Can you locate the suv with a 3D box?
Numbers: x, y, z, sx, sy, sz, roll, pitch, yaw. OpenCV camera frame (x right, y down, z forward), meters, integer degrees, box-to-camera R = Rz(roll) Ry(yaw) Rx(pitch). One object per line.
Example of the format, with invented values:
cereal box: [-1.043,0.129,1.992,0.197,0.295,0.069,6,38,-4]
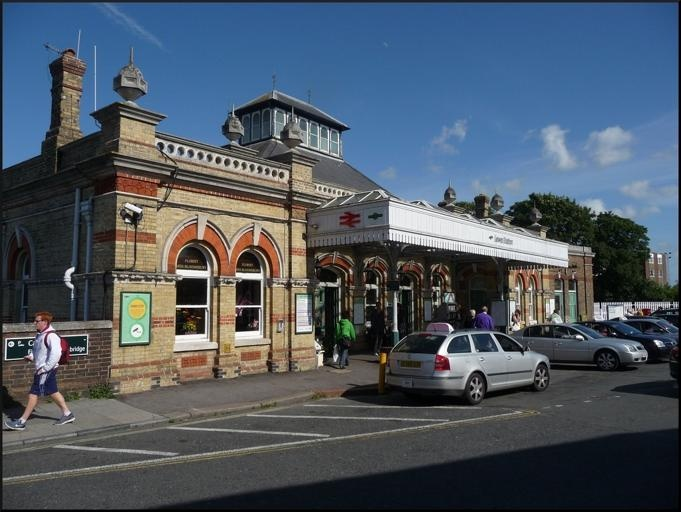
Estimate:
suv: [3.043,2.531,14.892,3.384,1.471,1.672,1,-4,-38]

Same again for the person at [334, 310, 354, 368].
person: [0.083,2.785,19.698,0.584,1.538,0.726,0,2,24]

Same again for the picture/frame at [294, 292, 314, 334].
picture/frame: [-1.098,1.827,19.671,0.106,1.302,0.958,0,-5,-40]

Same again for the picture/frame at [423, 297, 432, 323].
picture/frame: [3.737,2.355,26.819,0.090,1.336,0.941,-2,-5,32]

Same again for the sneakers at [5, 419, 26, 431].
sneakers: [-6.334,3.301,12.021,0.378,0.195,0.141,18,-7,-20]

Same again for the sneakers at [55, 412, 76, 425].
sneakers: [-5.608,3.306,12.465,0.441,0.219,0.160,8,-12,-43]

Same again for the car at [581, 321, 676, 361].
car: [10.011,3.031,21.907,3.148,1.069,1.377,-5,-6,44]

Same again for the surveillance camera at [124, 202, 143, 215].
surveillance camera: [-5.260,-1.210,15.636,0.415,0.290,0.240,-2,2,-21]

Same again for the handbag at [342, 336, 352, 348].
handbag: [0.219,2.704,19.688,0.235,0.377,0.448,1,3,45]
